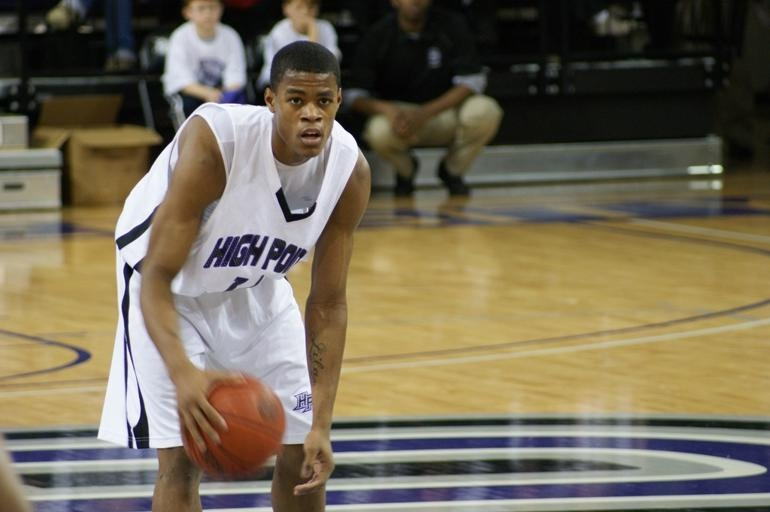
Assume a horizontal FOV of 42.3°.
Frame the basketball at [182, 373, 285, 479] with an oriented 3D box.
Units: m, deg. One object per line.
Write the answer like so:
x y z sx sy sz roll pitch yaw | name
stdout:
-0.302 0.363 2.179 0.228 0.216 0.218 15 5 -12 | basketball

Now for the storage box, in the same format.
-1.965 -0.730 6.784 0.787 0.716 0.773 -2 7 -28 | storage box
